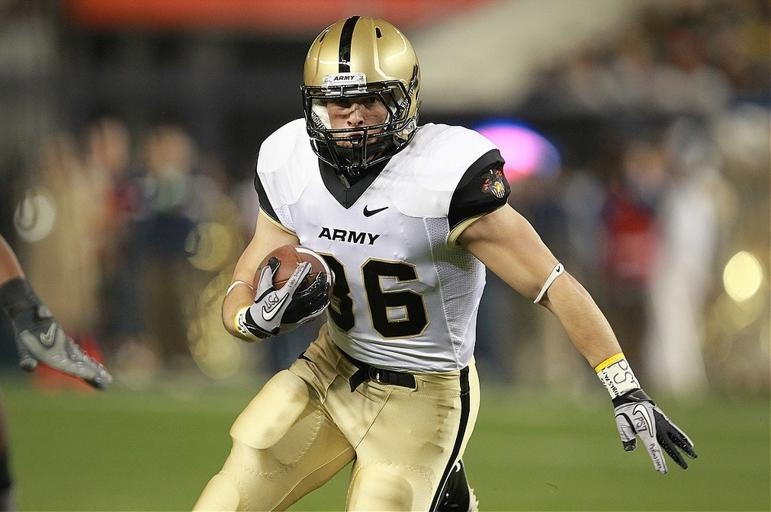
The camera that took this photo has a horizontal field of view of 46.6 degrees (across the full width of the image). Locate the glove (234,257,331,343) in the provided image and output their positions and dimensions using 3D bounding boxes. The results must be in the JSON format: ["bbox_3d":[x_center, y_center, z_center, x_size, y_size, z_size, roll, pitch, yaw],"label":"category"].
[{"bbox_3d":[-0.455,0.152,4.433,0.439,0.336,0.309,-34,9,12],"label":"glove"}]

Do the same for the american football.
[{"bbox_3d":[-0.458,0.099,4.348,0.275,0.303,0.276,7,-4,-40],"label":"american football"}]

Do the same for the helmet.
[{"bbox_3d":[-0.109,-0.967,4.598,0.479,0.491,0.616,0,23,10],"label":"helmet"}]
